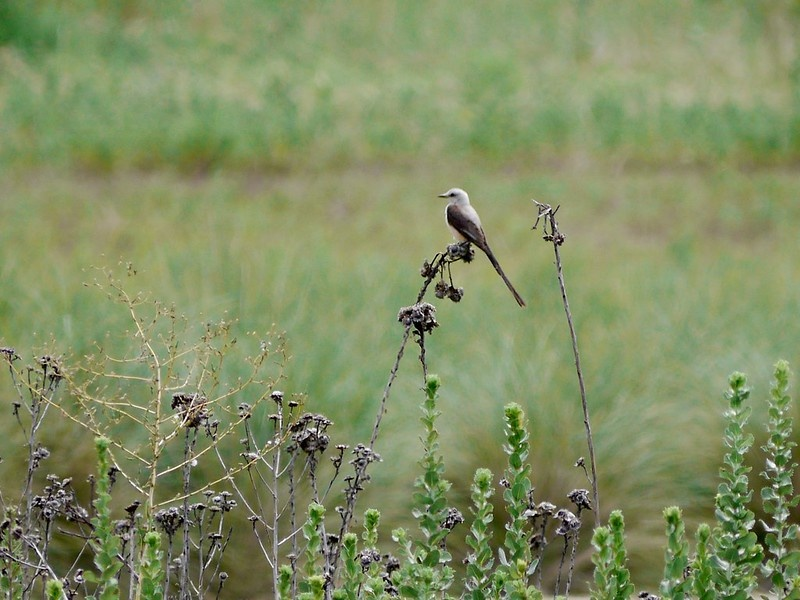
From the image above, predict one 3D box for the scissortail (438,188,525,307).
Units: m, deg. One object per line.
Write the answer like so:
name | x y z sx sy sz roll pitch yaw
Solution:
scissortail | 0.595 -0.583 11.325 0.440 1.199 0.482 -11 -6 38
